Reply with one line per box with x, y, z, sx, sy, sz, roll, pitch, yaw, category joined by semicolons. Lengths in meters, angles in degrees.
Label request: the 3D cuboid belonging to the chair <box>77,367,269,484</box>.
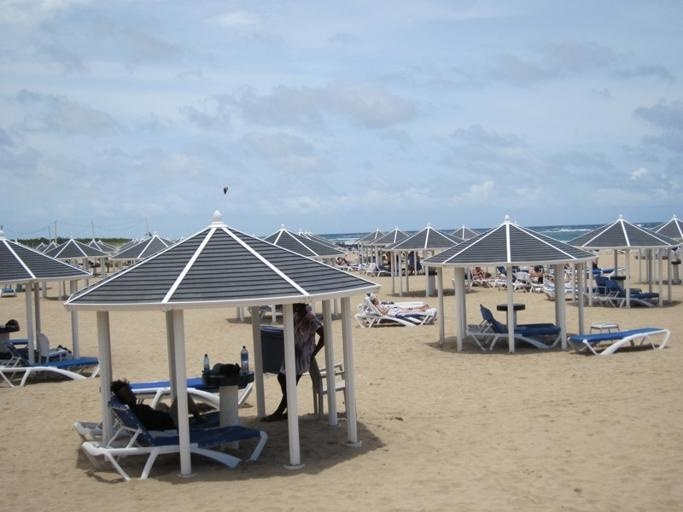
-2.181;2.236;10.141;2.264;0.911;1.236;0;1;-19;chair

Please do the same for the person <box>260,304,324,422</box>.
-0.705;1.562;11.193;0.951;1.924;1.300;-4;9;-3;person
